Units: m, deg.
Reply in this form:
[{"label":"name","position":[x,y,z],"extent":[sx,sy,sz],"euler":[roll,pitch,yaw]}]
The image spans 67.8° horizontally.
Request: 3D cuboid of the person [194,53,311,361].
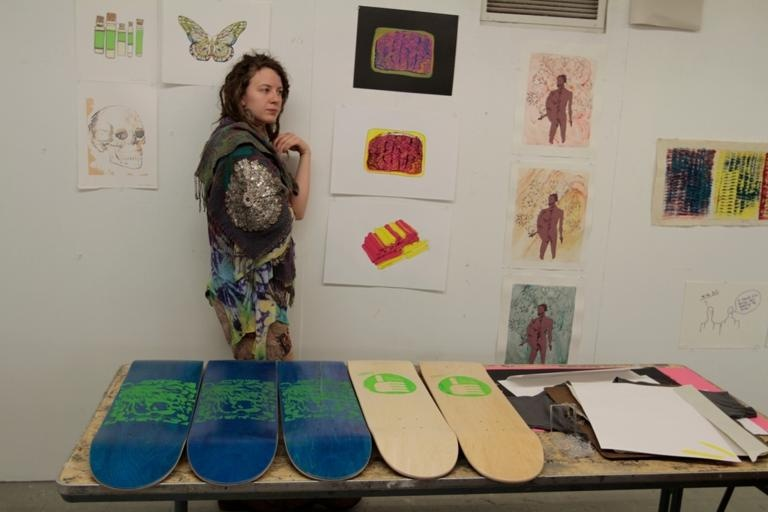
[{"label":"person","position":[-0.612,-0.269,2.919],"extent":[0.621,1.516,0.486],"euler":[2,3,1]}]
